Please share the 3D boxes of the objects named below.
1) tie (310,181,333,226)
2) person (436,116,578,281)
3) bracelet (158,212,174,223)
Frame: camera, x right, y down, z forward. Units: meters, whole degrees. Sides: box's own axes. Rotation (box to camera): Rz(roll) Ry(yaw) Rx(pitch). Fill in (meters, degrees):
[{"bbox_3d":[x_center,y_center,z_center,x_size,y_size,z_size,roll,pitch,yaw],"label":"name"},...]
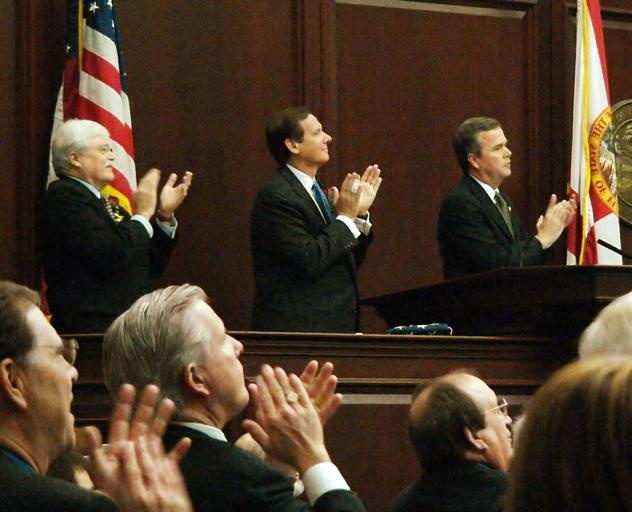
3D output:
[{"bbox_3d":[0.015,-0.241,3.733,0.053,0.260,0.066,-9,-39,-5],"label":"tie"},{"bbox_3d":[0.862,-0.310,4.174,0.512,0.818,0.590,-2,0,8],"label":"person"},{"bbox_3d":[-0.726,-0.178,3.934,0.058,0.049,0.046,-16,-11,40],"label":"bracelet"}]
